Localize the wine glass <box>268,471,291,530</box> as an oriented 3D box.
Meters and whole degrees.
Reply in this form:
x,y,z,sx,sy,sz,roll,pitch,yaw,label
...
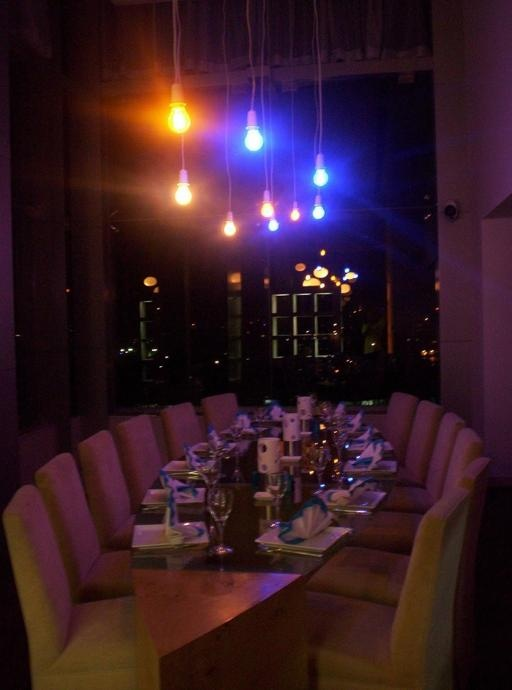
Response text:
x,y,z,sx,sy,sz,roll,pitch,yaw,label
0.069,0.514,2.088,0.058,0.195,0.065,3,7,19,wine glass

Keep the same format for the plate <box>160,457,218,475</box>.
x,y,z,sx,sy,sz,roll,pitch,yaw,label
-0.322,0.559,2.840,0.175,0.049,0.205,-1,-3,13,plate

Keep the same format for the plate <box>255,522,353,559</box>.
x,y,z,sx,sy,sz,roll,pitch,yaw,label
0.143,0.581,1.852,0.295,0.044,0.260,-6,3,2,plate

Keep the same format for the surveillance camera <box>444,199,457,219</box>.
x,y,z,sx,sy,sz,roll,pitch,yaw,label
1.669,-1.159,5.320,0.111,0.140,0.152,13,47,9,surveillance camera
